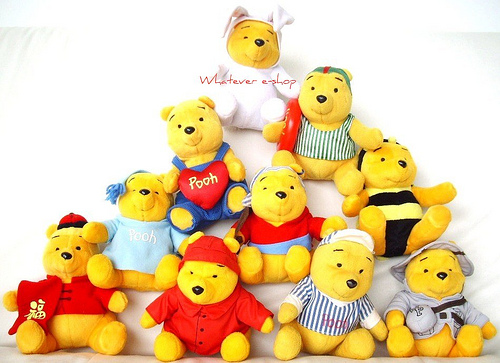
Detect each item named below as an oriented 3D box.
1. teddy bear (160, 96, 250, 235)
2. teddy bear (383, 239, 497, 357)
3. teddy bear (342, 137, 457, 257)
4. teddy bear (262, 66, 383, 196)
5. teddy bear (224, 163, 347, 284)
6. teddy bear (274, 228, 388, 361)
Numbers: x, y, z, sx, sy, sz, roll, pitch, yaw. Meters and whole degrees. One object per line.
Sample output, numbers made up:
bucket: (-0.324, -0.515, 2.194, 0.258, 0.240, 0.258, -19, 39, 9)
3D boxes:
teddy bear: (-0.207, -0.082, 2.522, 0.430, 0.582, 0.442, 1, 21, 32)
teddy bear: (0.754, 0.546, 2.572, 0.634, 0.664, 0.448, 3, -11, 4)
teddy bear: (0.669, 0.066, 2.540, 0.506, 0.569, 0.346, 0, -2, -3)
teddy bear: (0.350, -0.259, 2.591, 0.569, 0.576, 0.337, 5, 26, 9)
teddy bear: (0.159, 0.187, 2.460, 0.537, 0.553, 0.297, -1, 5, 6)
teddy bear: (0.340, 0.492, 2.346, 0.477, 0.555, 0.339, 1, 14, -11)
